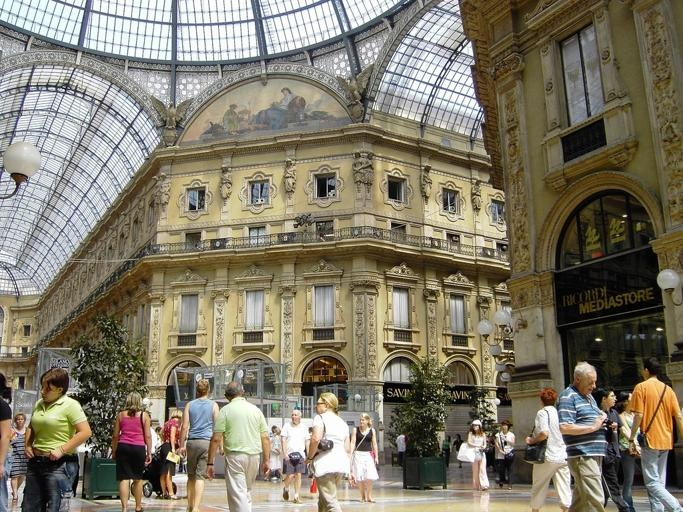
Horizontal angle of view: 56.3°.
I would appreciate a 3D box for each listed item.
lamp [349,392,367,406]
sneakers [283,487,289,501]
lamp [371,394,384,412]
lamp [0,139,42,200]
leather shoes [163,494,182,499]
[{"bbox_3d":[0.872,7.202,31.409,0.952,1.009,0.535,3,-9,-13],"label":"lamp"},{"bbox_3d":[-1.215,5.233,13.883,0.100,0.118,0.286,2,-1,0],"label":"sneakers"},{"bbox_3d":[1.838,7.358,32.007,0.678,1.238,0.711,1,-14,2],"label":"lamp"},{"bbox_3d":[-5.878,-1.733,11.675,0.544,1.235,1.211,10,-20,-32],"label":"lamp"},{"bbox_3d":[-3.889,5.548,14.633,0.415,0.128,0.171,4,-20,-15],"label":"leather shoes"}]
